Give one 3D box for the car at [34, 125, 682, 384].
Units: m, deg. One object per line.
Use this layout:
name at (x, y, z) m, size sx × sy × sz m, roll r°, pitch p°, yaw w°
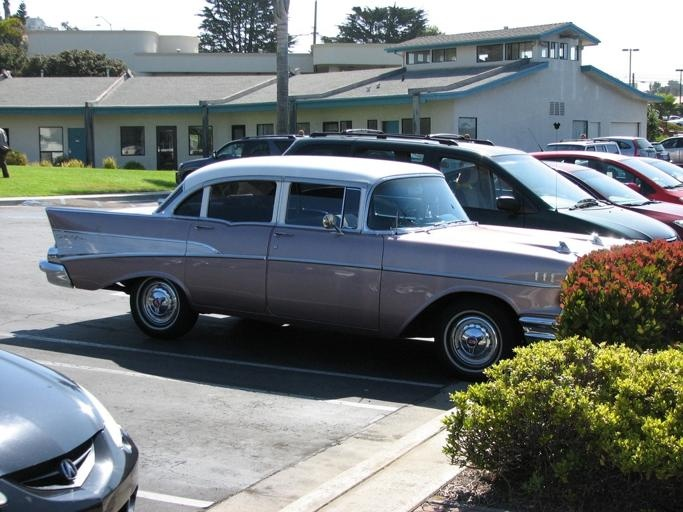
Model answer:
car at (0.296, -0.212, 8.351) m, size 6.854 × 1.728 × 2.761 m, roll 2°, pitch 9°, yaw 22°
